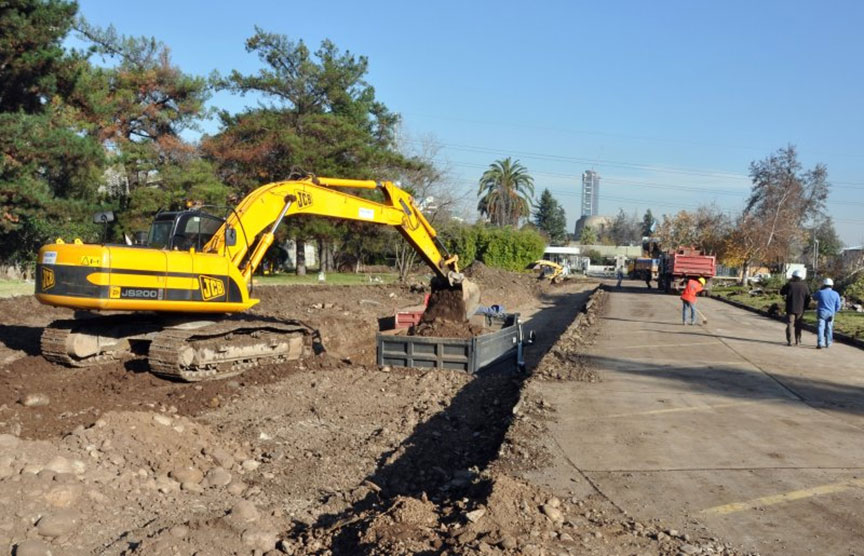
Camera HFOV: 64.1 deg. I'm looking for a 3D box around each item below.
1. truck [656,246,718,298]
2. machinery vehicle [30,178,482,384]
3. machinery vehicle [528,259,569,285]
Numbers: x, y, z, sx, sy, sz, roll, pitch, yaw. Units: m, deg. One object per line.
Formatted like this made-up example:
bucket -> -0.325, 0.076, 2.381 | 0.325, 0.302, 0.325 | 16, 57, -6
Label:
truck -> 15.883, -0.495, 42.623 | 3.634, 3.210, 6.544 | 2, 3, 4
machinery vehicle -> -3.878, -0.309, 19.498 | 3.832, 4.711, 11.613 | 4, 5, 44
machinery vehicle -> 10.877, -0.480, 63.147 | 2.096, 1.792, 3.889 | 1, 3, -19
